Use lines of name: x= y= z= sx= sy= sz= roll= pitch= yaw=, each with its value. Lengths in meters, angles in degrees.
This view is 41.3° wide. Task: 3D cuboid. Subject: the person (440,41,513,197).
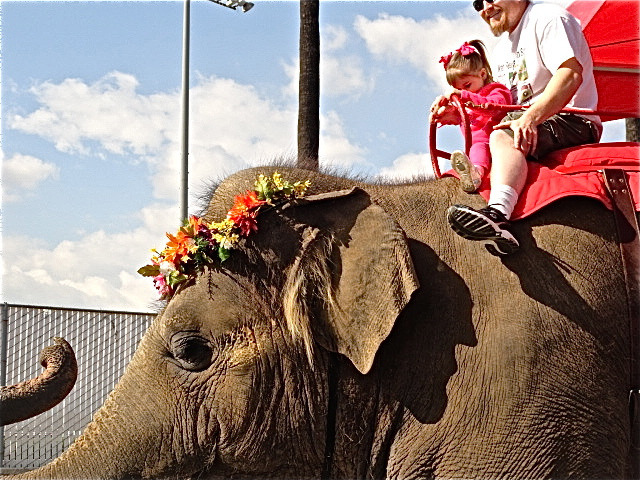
person: x=0.879 y=-0.715 z=4.818 sx=0.475 sy=0.848 sz=0.383 roll=-8 pitch=-4 yaw=-44

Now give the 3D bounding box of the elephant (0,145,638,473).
elephant: x=0.228 y=0.441 z=5.243 sx=3.655 sy=2.195 sz=1.516 roll=1 pitch=-5 yaw=-3

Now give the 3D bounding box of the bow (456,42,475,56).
bow: x=0.875 y=-1.124 z=4.983 sx=0.089 sy=0.089 sz=0.106 roll=2 pitch=-11 yaw=-7

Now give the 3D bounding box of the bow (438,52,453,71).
bow: x=0.765 y=-1.064 z=5.033 sx=0.070 sy=0.104 sz=0.140 roll=-2 pitch=-11 yaw=11
